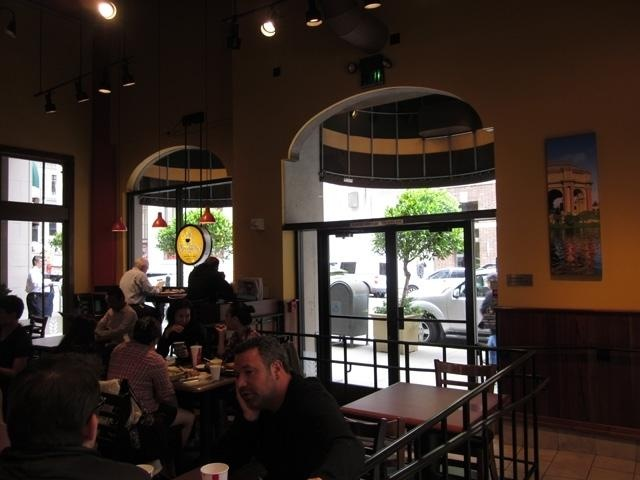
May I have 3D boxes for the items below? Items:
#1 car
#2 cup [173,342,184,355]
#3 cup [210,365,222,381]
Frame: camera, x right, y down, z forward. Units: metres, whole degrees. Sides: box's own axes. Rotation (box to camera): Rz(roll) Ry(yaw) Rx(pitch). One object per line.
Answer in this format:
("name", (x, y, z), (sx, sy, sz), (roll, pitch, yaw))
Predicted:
("car", (1.367, 0.841, 7.053), (2.299, 0.683, 1.238), (-1, -1, 27))
("cup", (-1.486, 1.154, 5.473), (0.121, 0.119, 0.126), (0, -6, 0))
("cup", (-0.980, 1.255, 4.893), (0.114, 0.117, 0.121), (-2, 2, 0))
